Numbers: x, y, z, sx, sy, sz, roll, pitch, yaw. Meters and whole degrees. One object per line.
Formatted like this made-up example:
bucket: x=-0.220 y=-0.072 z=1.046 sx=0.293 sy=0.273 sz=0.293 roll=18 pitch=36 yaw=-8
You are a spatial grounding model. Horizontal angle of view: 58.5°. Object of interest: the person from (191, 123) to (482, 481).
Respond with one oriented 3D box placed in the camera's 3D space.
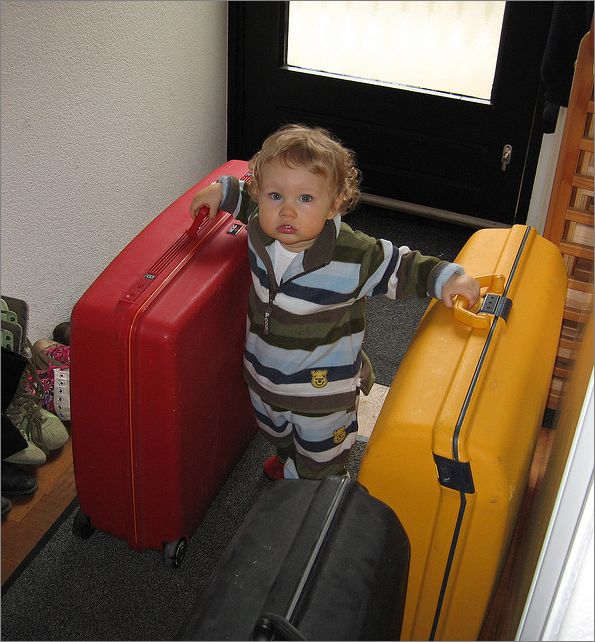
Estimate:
person: x=0.037 y=0.033 z=1.196 sx=0.670 sy=0.869 sz=0.251 roll=21 pitch=34 yaw=27
